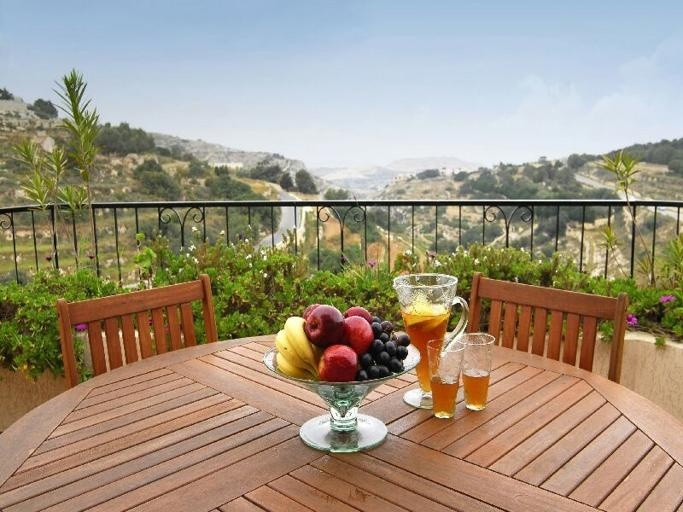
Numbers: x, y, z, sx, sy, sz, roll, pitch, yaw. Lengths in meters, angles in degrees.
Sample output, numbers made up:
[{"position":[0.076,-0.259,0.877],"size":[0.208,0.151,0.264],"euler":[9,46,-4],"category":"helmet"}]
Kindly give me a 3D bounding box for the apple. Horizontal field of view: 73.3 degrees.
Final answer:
[{"position":[-0.004,0.175,0.953],"size":[0.146,0.153,0.102],"euler":[-2,6,-6],"category":"apple"}]

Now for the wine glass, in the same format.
[{"position":[0.228,0.203,1.210],"size":[0.160,0.398,0.170],"euler":[-1,7,-7],"category":"wine glass"}]

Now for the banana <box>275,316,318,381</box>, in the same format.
[{"position":[-0.106,0.202,1.013],"size":[0.054,0.131,0.091],"euler":[-23,-1,20],"category":"banana"}]
